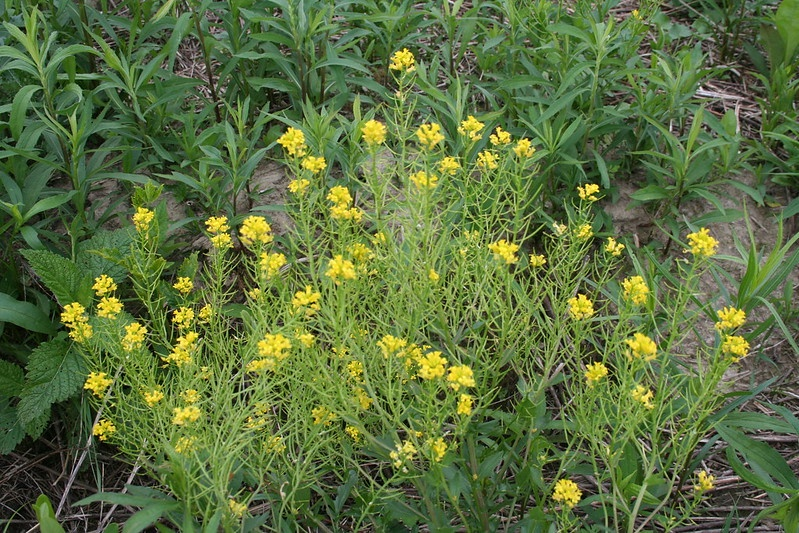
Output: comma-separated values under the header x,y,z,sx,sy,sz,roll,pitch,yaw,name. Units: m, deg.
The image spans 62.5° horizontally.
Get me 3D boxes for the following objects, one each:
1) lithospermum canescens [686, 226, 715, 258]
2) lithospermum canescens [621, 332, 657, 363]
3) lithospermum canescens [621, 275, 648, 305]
x,y,z,sx,sy,sz,roll,pitch,yaw,name
1.678,-0.132,3.671,0.120,0.119,0.128,25,56,23,lithospermum canescens
1.201,0.365,3.275,0.146,0.194,0.159,12,74,21,lithospermum canescens
1.277,0.134,3.564,0.102,0.138,0.110,19,76,38,lithospermum canescens
